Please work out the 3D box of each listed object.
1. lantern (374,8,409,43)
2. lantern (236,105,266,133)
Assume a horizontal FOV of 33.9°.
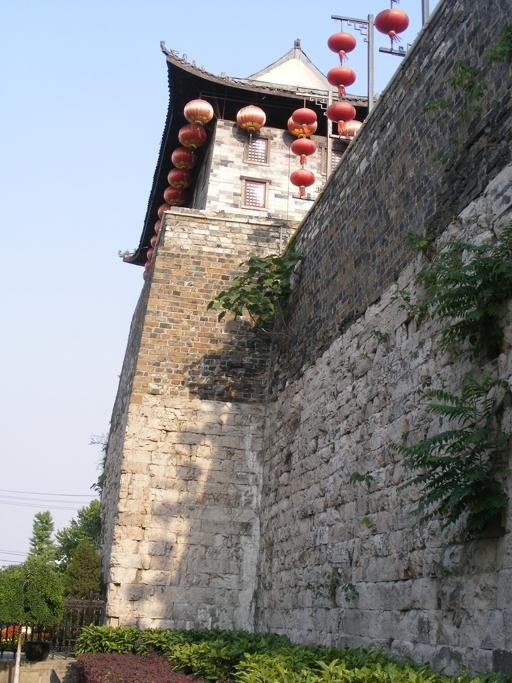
[{"bbox_3d":[2.040,-4.760,12.599,0.427,0.283,0.608,10,-23,-11],"label":"lantern"},{"bbox_3d":[-0.118,-4.941,18.473,0.609,0.686,0.705,8,-23,-5],"label":"lantern"}]
